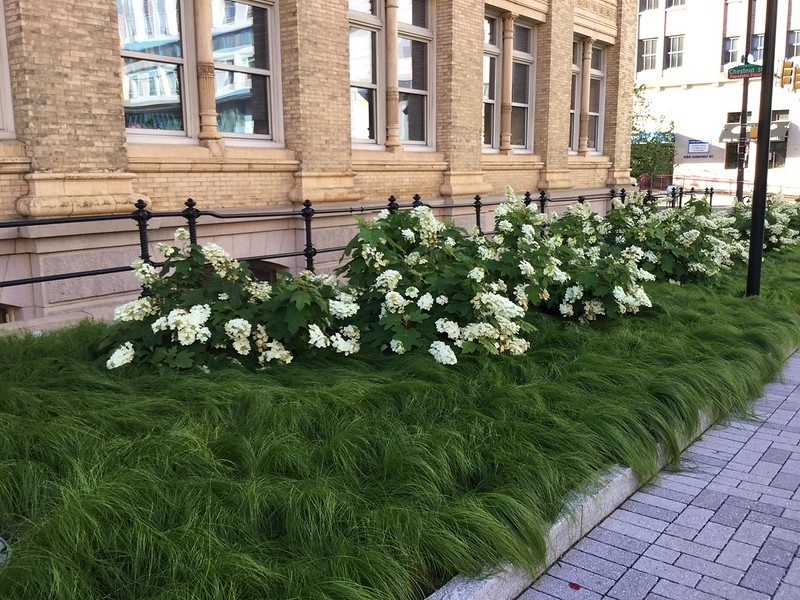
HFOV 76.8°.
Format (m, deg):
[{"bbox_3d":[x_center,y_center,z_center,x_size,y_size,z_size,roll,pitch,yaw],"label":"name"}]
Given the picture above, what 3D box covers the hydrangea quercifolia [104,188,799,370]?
[{"bbox_3d":[1.635,-0.532,6.669,9.777,1.711,2.919,-9,17,-30],"label":"hydrangea quercifolia"}]
